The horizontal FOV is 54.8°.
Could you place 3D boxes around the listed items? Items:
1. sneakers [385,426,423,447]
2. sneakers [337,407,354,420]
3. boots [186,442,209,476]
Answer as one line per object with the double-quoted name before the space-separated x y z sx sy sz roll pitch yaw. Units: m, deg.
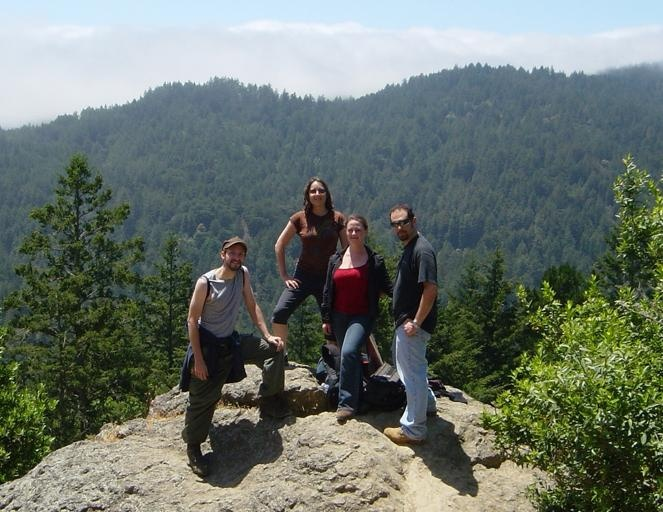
"sneakers" 1.084 2.699 9.703 0.579 0.280 0.236 21 3 7
"sneakers" 0.218 2.420 9.820 0.294 0.170 0.198 -6 9 0
"boots" -1.992 3.049 9.575 0.226 0.542 0.498 -8 7 -36
